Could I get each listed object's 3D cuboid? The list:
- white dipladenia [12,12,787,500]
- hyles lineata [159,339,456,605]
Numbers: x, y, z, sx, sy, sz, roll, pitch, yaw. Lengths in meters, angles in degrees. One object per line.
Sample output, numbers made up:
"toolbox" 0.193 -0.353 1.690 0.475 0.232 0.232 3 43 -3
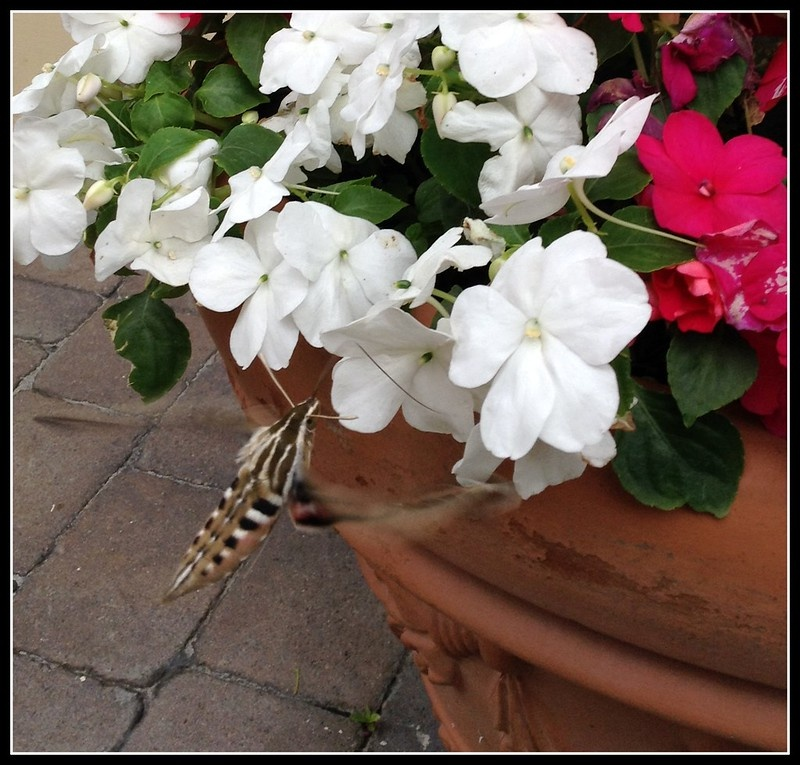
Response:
"white dipladenia" 0.012 -0.117 0.643 0.421 0.368 0.486 8 40 8
"hyles lineata" -0.066 0.098 0.672 0.211 0.071 0.238 -29 42 -30
